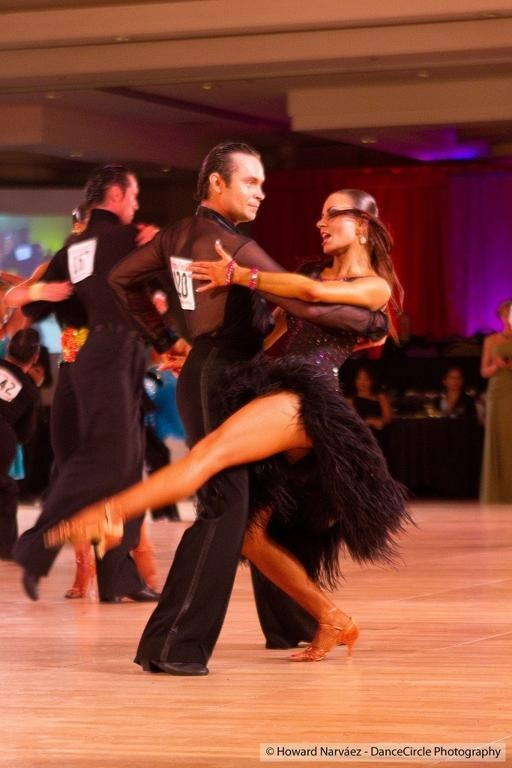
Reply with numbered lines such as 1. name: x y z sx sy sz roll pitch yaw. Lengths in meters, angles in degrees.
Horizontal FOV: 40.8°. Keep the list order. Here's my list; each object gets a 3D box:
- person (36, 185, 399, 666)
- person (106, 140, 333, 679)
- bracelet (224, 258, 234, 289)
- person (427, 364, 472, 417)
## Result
1. person: 0.017 0.037 1.958 0.836 1.215 0.729 16 4 -23
2. person: -0.032 0.058 1.933 0.827 1.409 0.664 1 10 4
3. bracelet: -0.063 -0.267 1.649 0.017 0.045 0.031 4 0 -36
4. person: 2.053 0.081 7.219 0.561 0.647 0.434 -1 -22 7
